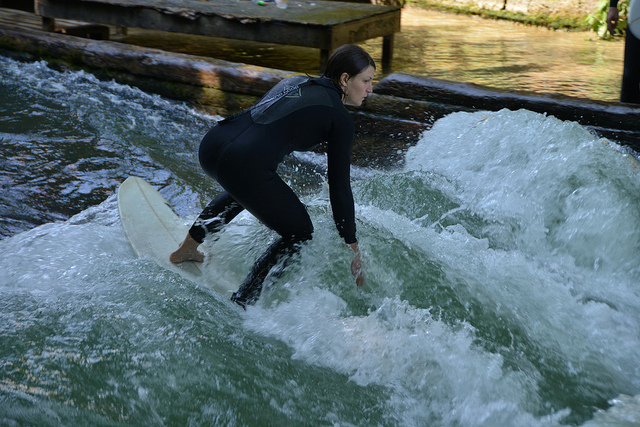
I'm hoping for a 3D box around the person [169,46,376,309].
[{"bbox_3d":[-0.175,-0.253,3.369,1.246,1.726,1.277,23,22,17],"label":"person"}]
